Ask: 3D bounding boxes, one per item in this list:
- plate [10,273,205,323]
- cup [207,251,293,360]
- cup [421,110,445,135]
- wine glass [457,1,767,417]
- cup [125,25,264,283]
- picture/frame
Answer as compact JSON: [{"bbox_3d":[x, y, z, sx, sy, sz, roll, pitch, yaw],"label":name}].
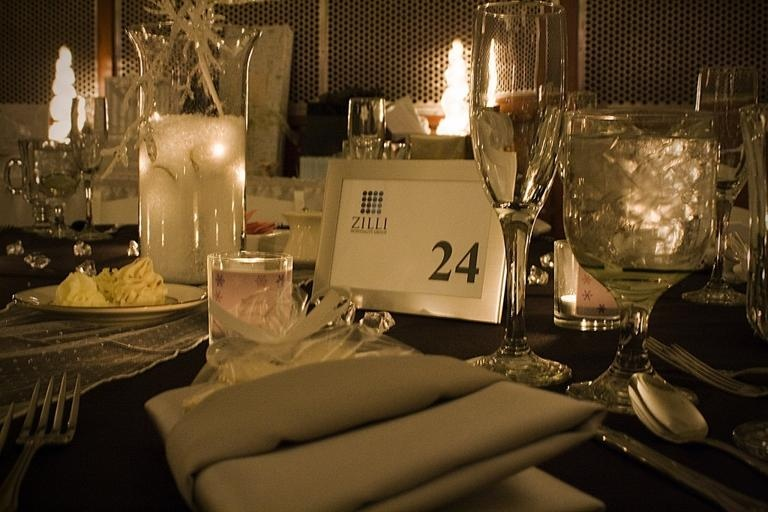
[{"bbox_3d":[-0.332,0.056,0.744,0.224,0.028,0.135,1,6,-3],"label":"plate"},{"bbox_3d":[-0.131,0.045,0.622,0.087,0.113,0.091,1,0,0],"label":"cup"},{"bbox_3d":[0.298,-0.872,4.003,0.139,0.131,0.117,-3,7,-34],"label":"cup"},{"bbox_3d":[0.191,-0.064,0.595,0.229,0.370,0.215,4,7,32],"label":"wine glass"},{"bbox_3d":[-0.288,-0.128,0.898,0.151,0.314,0.157,-1,-10,0],"label":"cup"},{"bbox_3d":[0.043,-0.014,0.769,0.187,0.158,0.014,1,-13,15],"label":"picture/frame"}]
